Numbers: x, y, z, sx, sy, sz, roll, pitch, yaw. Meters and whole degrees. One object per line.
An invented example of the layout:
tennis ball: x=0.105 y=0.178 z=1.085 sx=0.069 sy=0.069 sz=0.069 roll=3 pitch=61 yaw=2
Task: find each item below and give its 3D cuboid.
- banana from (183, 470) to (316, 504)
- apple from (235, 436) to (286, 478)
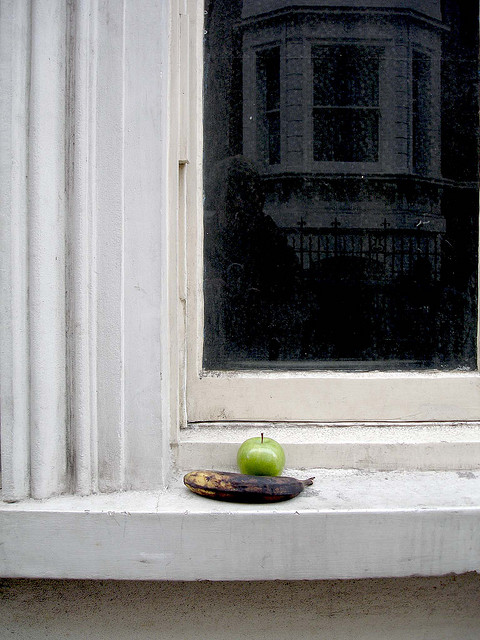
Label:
banana: x=0.006 y=0.335 z=2.358 sx=0.241 sy=0.053 sz=0.078 roll=3 pitch=3 yaw=4
apple: x=0.045 y=0.288 z=2.431 sx=0.082 sy=0.111 sz=0.090 roll=1 pitch=-6 yaw=-29
